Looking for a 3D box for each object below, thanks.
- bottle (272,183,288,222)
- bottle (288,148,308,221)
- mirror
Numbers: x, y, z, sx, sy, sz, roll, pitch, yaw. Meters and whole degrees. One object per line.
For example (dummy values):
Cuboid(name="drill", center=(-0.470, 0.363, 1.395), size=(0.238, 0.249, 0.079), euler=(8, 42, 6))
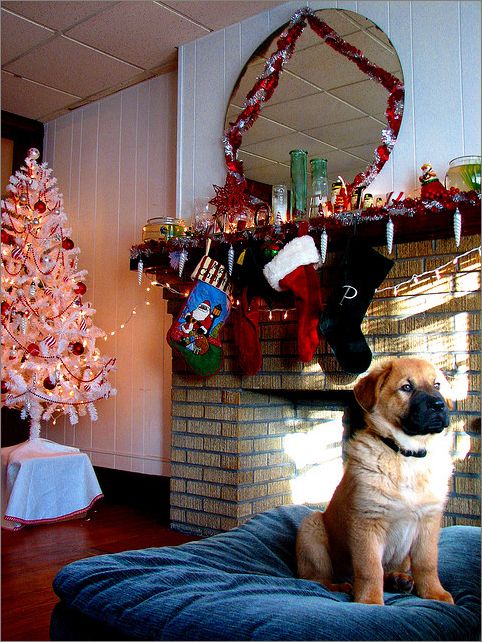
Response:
Cuboid(name="bottle", center=(0.176, -0.538, 2.893), size=(0.077, 0.159, 0.245), euler=(-2, 1, 4))
Cuboid(name="bottle", center=(0.262, -0.633, 2.898), size=(0.080, 0.290, 0.301), euler=(-2, 1, 5))
Cuboid(name="mirror", center=(0.301, -1.115, 3.400), size=(0.821, 0.923, 0.066), euler=(37, 33, 29))
